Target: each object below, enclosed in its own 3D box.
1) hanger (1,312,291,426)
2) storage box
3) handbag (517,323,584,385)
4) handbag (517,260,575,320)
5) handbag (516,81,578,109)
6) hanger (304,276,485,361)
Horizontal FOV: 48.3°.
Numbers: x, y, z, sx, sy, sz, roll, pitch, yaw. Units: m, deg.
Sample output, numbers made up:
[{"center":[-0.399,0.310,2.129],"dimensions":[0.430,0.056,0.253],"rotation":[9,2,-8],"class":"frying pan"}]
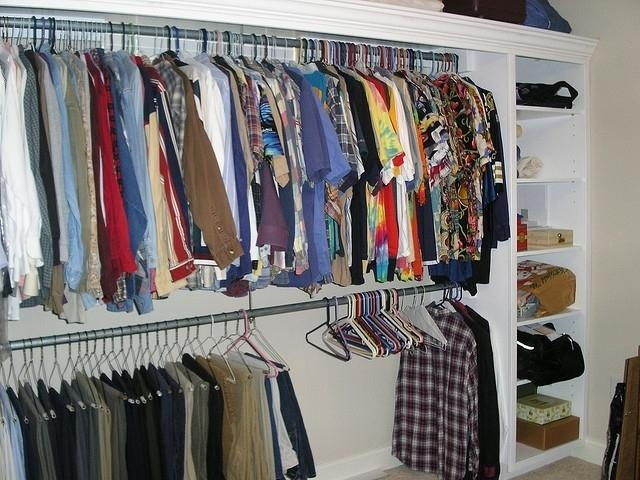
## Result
[{"center":[-0.884,0.487,3.312],"dimensions":[1.169,0.322,0.433],"rotation":[-9,7,-21],"class":"hanger"},{"center":[1.299,0.976,4.070],"dimensions":[0.329,0.254,0.347],"rotation":[-6,8,-37],"class":"storage box"},{"center":[1.248,0.627,3.900],"dimensions":[0.332,0.161,0.275],"rotation":[10,14,43],"class":"handbag"},{"center":[1.260,0.276,3.994],"dimensions":[0.361,0.262,0.224],"rotation":[-6,6,2],"class":"handbag"},{"center":[1.232,-0.789,3.944],"dimensions":[0.409,0.174,0.212],"rotation":[-11,8,-34],"class":"handbag"},{"center":[0.388,0.406,3.640],"dimensions":[0.691,0.254,0.416],"rotation":[-7,10,-34],"class":"hanger"}]
